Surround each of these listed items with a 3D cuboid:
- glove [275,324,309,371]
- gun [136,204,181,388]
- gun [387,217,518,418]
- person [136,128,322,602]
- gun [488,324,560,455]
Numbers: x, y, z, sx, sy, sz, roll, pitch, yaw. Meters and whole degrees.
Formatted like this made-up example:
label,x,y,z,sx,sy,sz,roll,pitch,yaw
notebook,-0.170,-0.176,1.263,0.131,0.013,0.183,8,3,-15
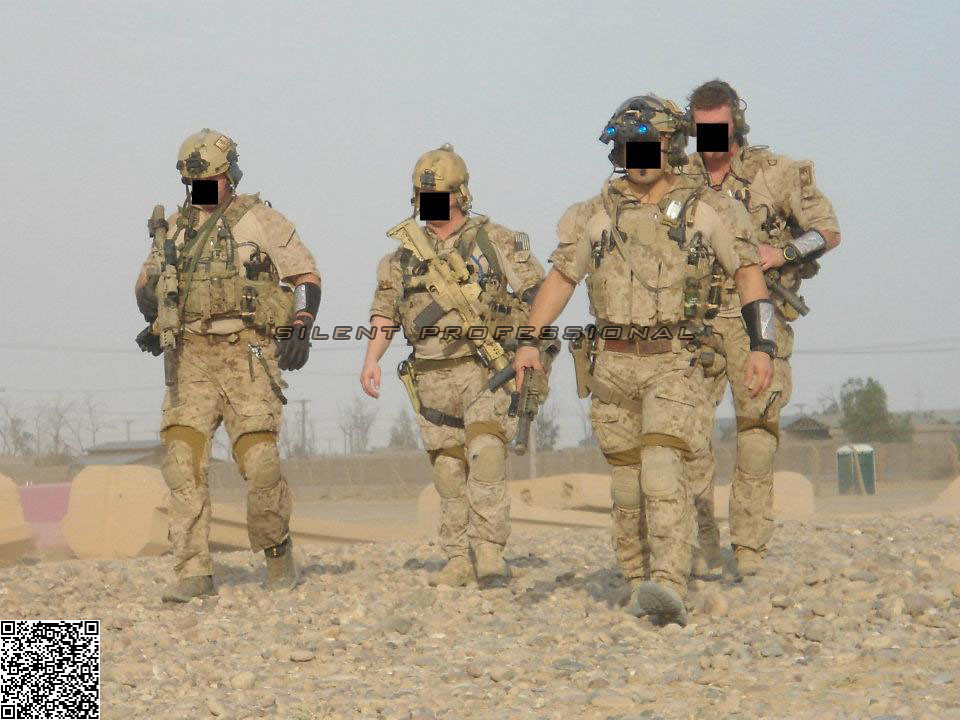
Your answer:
label,x,y,z,sx,sy,sz,roll,pitch,yaw
glove,-1.321,-0.089,10.153,0.228,0.296,0.212,-2,6,0
gun,-2.281,-0.444,10.247,0.297,1.265,0.505,-3,6,-14
gun,-0.127,-0.292,10.572,1.016,1.503,0.513,3,7,38
person,-1.795,0.006,10.287,1.220,3.258,0.827,-3,6,-16
gun,0.262,0.200,9.847,0.390,0.959,0.406,-1,1,27
